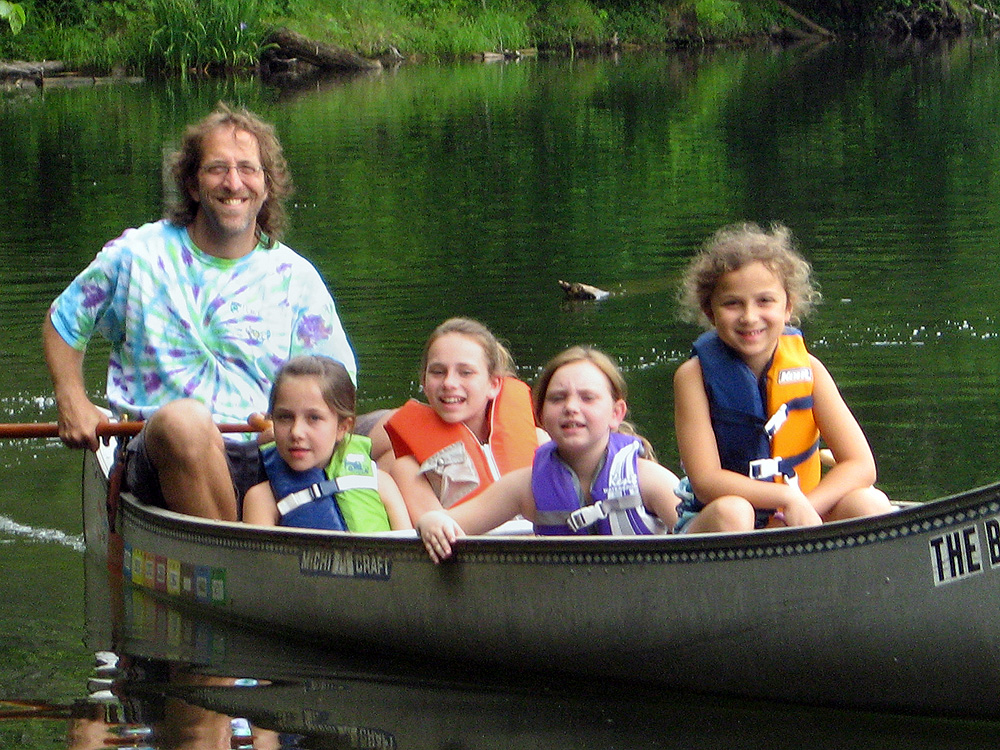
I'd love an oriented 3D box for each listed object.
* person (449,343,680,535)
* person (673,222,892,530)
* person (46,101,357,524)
[{"bbox_3d":[0.294,0.284,5.021,0.888,0.665,0.459,-1,-7,5],"label":"person"},{"bbox_3d":[0.900,0.073,4.802,0.701,1.055,0.784,0,1,11],"label":"person"},{"bbox_3d":[-1.048,-0.121,5.563,1.193,1.749,1.066,4,1,31],"label":"person"}]
